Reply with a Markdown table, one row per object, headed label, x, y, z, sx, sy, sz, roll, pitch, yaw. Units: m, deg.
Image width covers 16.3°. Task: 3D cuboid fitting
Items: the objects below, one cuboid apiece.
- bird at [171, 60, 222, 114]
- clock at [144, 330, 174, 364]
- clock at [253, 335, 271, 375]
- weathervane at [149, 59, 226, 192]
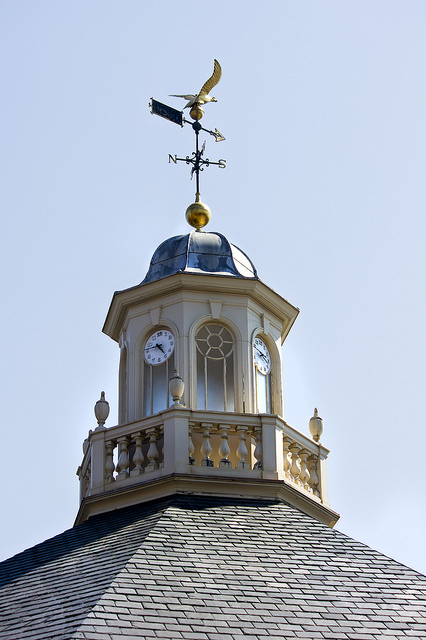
| label | x | y | z | sx | sy | sz | roll | pitch | yaw |
| --- | --- | --- | --- | --- | --- | --- | --- | --- | --- |
| bird | -0.220 | -4.342 | 28.808 | 0.645 | 0.615 | 1.351 | 0 | -7 | -25 |
| clock | -0.874 | 0.487 | 25.186 | 0.439 | 0.492 | 0.070 | -20 | -38 | 30 |
| clock | 0.854 | 0.626 | 25.481 | 0.060 | 0.599 | 0.549 | -10 | -14 | 24 |
| weathervane | -0.116 | -3.756 | 28.566 | 1.385 | 2.532 | 1.352 | 15 | 21 | 39 |
